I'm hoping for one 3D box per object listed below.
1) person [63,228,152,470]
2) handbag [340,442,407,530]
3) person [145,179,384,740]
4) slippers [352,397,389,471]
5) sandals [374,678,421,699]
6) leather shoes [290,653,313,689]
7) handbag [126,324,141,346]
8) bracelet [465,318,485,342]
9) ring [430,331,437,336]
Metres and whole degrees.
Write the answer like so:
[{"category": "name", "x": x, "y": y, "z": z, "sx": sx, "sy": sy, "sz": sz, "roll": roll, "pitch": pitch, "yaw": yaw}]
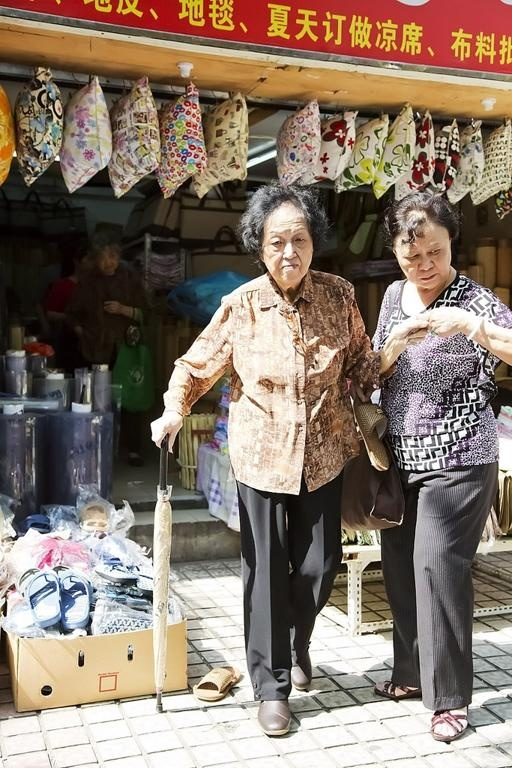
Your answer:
[{"category": "person", "x": -1.017, "y": -0.288, "z": 4.405, "sx": 0.494, "sy": 1.603, "sz": 0.394, "roll": -10, "pitch": 39, "yaw": -26}, {"category": "handbag", "x": 0.371, "y": 0.312, "z": 2.023, "sx": 0.145, "sy": 0.301, "sz": 0.279, "roll": -3, "pitch": -3, "yaw": -25}, {"category": "person", "x": 0.034, "y": 0.226, "z": 1.985, "sx": 0.671, "sy": 1.612, "sz": 0.412, "roll": 2, "pitch": -2, "yaw": -7}, {"category": "slippers", "x": 0.351, "y": 0.154, "z": 1.990, "sx": 0.073, "sy": 0.231, "sz": 0.086, "roll": -15, "pitch": -13, "yaw": -11}, {"category": "sandals", "x": 0.469, "y": 1.019, "z": 2.183, "sx": 0.132, "sy": 0.034, "sz": 0.058, "roll": 2, "pitch": 1, "yaw": 4}, {"category": "leather shoes", "x": 0.156, "y": 0.984, "z": 2.242, "sx": 0.054, "sy": 0.063, "sz": 0.155, "roll": -1, "pitch": -6, "yaw": 0}, {"category": "handbag", "x": -0.805, "y": -0.321, "z": 4.202, "sx": 0.096, "sy": 0.123, "sz": 0.130, "roll": 4, "pitch": 1, "yaw": -6}, {"category": "bracelet", "x": 0.557, "y": -0.146, "z": 1.702, "sx": 0.045, "sy": 0.049, "sz": 0.052, "roll": 29, "pitch": 46, "yaw": 32}, {"category": "ring", "x": 0.488, "y": -0.141, "z": 1.798, "sx": 0.016, "sy": 0.004, "sz": 0.015, "roll": 6, "pitch": -14, "yaw": 2}]
